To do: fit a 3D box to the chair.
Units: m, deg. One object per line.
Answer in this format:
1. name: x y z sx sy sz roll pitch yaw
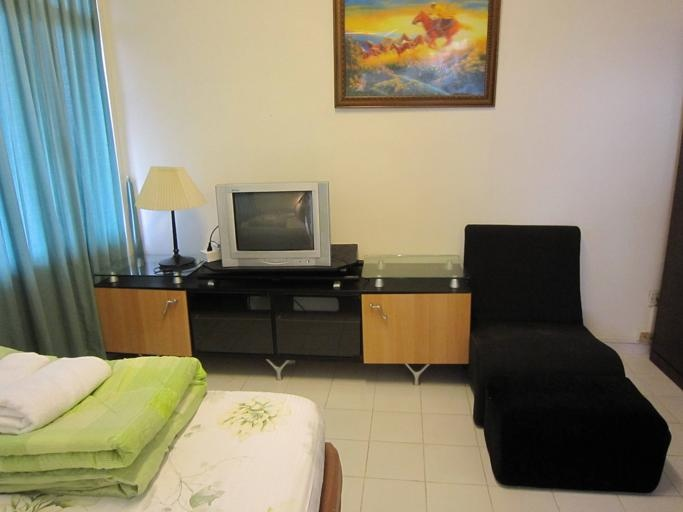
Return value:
1. chair: 1.242 0.512 3.427 0.790 1.313 1.000 0 12 6
